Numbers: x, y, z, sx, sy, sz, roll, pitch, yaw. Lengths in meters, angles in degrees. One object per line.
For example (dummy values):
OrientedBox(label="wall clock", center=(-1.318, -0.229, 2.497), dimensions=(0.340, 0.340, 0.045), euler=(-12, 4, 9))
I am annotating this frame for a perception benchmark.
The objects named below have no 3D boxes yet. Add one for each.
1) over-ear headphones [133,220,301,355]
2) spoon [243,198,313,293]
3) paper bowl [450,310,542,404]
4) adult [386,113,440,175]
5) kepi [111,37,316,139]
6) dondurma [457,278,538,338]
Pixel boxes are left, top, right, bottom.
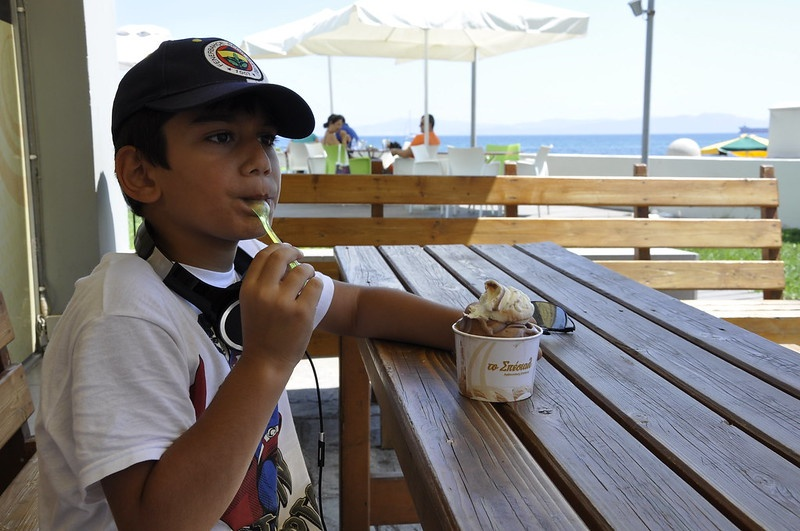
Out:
OrientedBox(label="over-ear headphones", center=(-0.379, 0.049, 1.176), dimensions=(0.304, 0.116, 0.318), euler=(36, 5, 17))
OrientedBox(label="spoon", center=(-0.266, -0.030, 1.277), dimensions=(0.061, 0.251, 0.037), euler=(-19, 11, 9))
OrientedBox(label="paper bowl", center=(0.203, 0.211, 1.266), dimensions=(0.199, 0.140, 0.195), euler=(0, -1, 0))
OrientedBox(label="adult", center=(0.186, -1.814, 8.667), dimensions=(0.814, 0.826, 0.638), euler=(9, 17, 24))
OrientedBox(label="kepi", center=(-0.406, -0.334, 1.279), dimensions=(0.348, 0.182, 0.259), euler=(-6, 4, 20))
OrientedBox(label="dondurma", center=(0.200, 0.087, 1.235), dimensions=(0.134, 0.076, 0.130), euler=(2, -2, -15))
